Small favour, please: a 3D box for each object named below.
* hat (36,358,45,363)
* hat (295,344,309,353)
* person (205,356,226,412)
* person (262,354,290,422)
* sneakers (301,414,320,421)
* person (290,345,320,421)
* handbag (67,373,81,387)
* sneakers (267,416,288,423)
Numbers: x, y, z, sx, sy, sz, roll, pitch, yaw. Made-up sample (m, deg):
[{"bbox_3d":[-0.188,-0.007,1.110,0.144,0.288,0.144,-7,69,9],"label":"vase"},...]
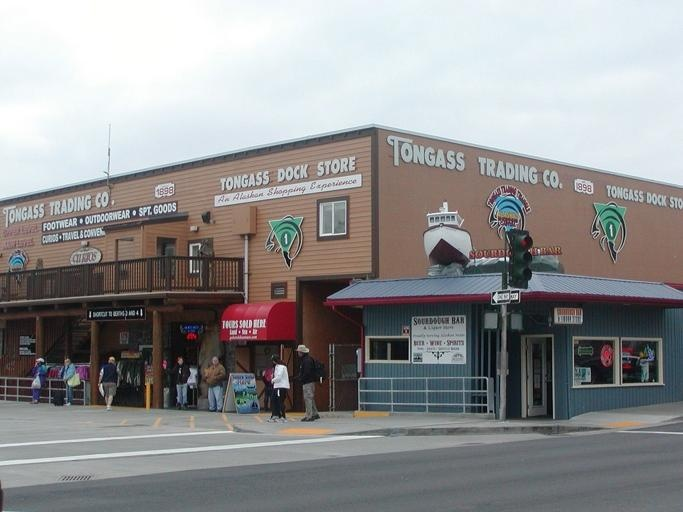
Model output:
[{"bbox_3d":[-13.050,4.483,35.246,0.220,0.133,0.164,5,-4,27],"label":"hat"},{"bbox_3d":[-1.129,2.849,24.934,0.391,0.190,0.449,-6,-10,44],"label":"hat"},{"bbox_3d":[-4.618,4.694,29.666,0.698,1.913,1.151,2,-12,-12],"label":"person"},{"bbox_3d":[-1.912,4.007,24.720,0.512,1.982,0.739,1,-12,-5],"label":"person"},{"bbox_3d":[-0.945,4.866,24.571,0.540,0.264,0.213,5,-11,-21],"label":"sneakers"},{"bbox_3d":[-1.032,3.853,24.863,0.623,2.346,1.209,0,-12,-4],"label":"person"},{"bbox_3d":[-10.968,5.025,33.292,0.392,0.413,0.156,-25,16,-24],"label":"handbag"},{"bbox_3d":[-1.937,4.921,24.555,0.572,0.297,0.224,-1,-10,23],"label":"sneakers"}]
